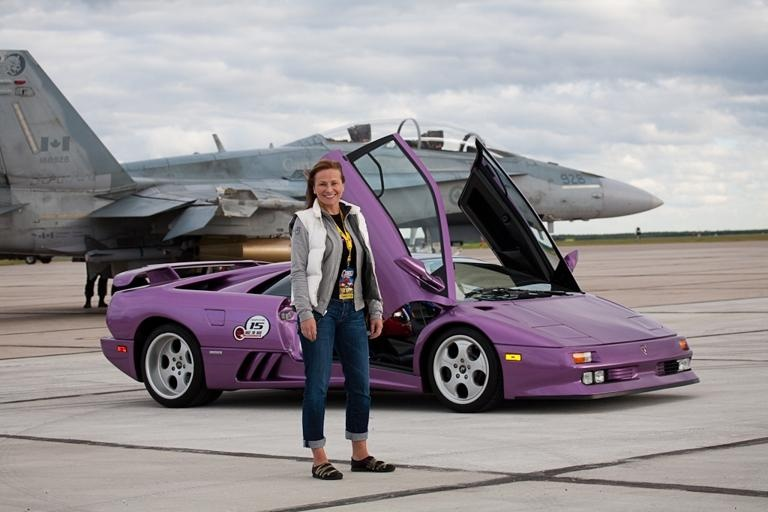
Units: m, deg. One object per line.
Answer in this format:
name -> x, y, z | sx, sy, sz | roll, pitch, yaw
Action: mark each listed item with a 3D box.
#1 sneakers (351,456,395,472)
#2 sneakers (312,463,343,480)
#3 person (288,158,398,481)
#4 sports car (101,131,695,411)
sneakers -> -0.096, 1.597, 5.935 | 0.345, 0.102, 0.119 | -3, -3, 13
sneakers -> -0.420, 1.616, 5.778 | 0.232, 0.069, 0.107 | -3, -3, 27
person -> -0.354, 0.451, 5.994 | 0.684, 2.434, 0.776 | -3, 6, -2
sports car -> 0.023, 0.487, 9.111 | 5.771, 1.954, 3.681 | -4, -3, 23
